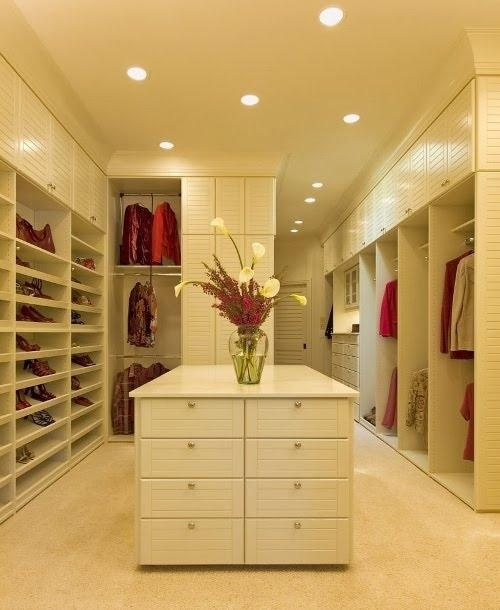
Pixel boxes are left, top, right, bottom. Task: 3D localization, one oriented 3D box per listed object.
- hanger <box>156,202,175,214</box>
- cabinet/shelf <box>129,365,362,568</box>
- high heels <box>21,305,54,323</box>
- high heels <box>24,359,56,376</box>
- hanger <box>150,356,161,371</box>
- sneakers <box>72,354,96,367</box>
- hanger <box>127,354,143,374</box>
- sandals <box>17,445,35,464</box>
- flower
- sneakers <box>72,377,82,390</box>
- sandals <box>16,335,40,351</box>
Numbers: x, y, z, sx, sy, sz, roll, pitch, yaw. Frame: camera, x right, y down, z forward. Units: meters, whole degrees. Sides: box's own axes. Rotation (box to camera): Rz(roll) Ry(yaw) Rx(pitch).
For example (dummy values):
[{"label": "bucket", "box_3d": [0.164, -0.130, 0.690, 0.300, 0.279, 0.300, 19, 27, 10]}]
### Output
[{"label": "hanger", "box_3d": [-0.848, -0.958, 4.536, 0.205, 0.176, 0.125, 0, 3, -14]}, {"label": "cabinet/shelf", "box_3d": [0.000, 0.693, 2.113, 0.615, 0.536, 0.851, 0, -3, -2]}, {"label": "high heels", "box_3d": [-1.512, 0.054, 3.165, 0.307, 0.132, 0.105, 2, -3, 20]}, {"label": "high heels", "box_3d": [-1.431, 0.397, 3.117, 0.182, 0.082, 0.117, 11, -7, 17]}, {"label": "hanger", "box_3d": [-0.937, 0.562, 4.510, 0.085, 0.117, 0.042, 4, -45, -14]}, {"label": "sneakers", "box_3d": [-1.426, 0.465, 3.922, 0.236, 0.089, 0.078, -3, -2, 43]}, {"label": "hanger", "box_3d": [-1.127, 0.588, 4.527, 0.140, 0.180, 0.237, 3, -10, -16]}, {"label": "sandals", "box_3d": [-1.387, 0.910, 2.837, 0.103, 0.076, 0.200, 2, -4, -25]}, {"label": "flower", "box_3d": [-0.024, 0.031, 2.186, 0.484, 0.664, 0.600, -2, -1, -21]}, {"label": "sneakers", "box_3d": [-1.410, 0.620, 3.697, 0.053, 0.038, 0.150, 0, 8, -23]}, {"label": "sandals", "box_3d": [-1.476, 0.239, 3.014, 0.221, 0.099, 0.075, 7, 1, 41]}]
